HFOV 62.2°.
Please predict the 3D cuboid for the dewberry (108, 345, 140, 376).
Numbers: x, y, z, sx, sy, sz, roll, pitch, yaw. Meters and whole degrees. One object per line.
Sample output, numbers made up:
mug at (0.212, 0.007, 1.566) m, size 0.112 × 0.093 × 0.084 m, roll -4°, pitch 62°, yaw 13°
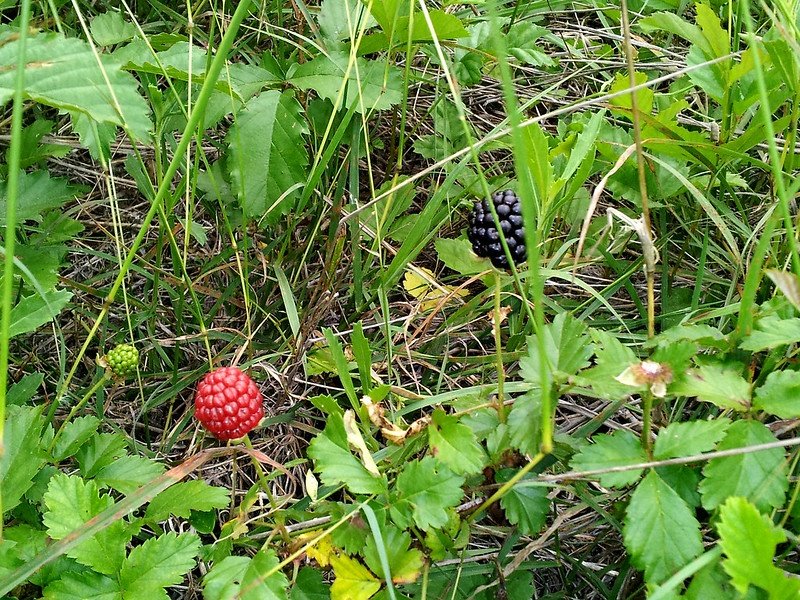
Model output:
dewberry at (-0.822, 0.176, 1.961) m, size 0.087 × 0.099 × 0.088 m, roll -13°, pitch 19°, yaw -21°
